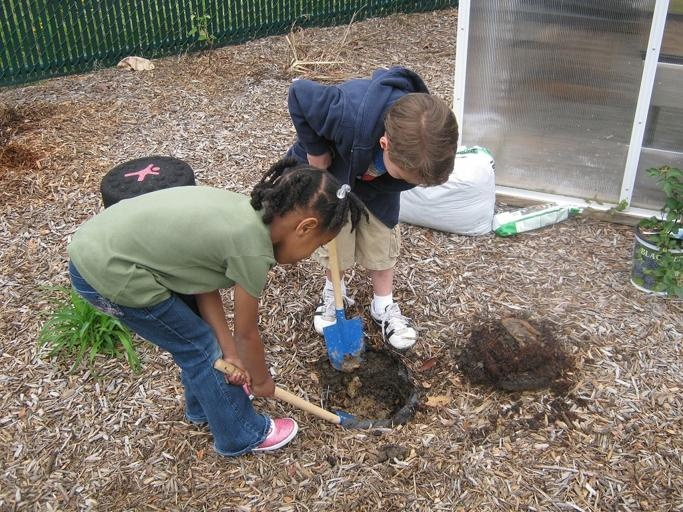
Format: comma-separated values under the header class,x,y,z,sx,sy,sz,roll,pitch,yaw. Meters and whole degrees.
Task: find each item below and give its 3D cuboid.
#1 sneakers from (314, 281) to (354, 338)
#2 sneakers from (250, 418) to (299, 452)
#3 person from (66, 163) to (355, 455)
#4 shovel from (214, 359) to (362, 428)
class,x,y,z,sx,sy,sz,roll,pitch,yaw
sneakers,-0.066,0.333,3.528,0.140,0.176,0.405,1,71,3
sneakers,-0.324,0.900,2.948,0.270,0.114,0.110,-9,37,-11
person,-0.631,0.320,2.772,1.549,1.575,0.739,-1,41,-21
shovel,-0.324,0.767,2.899,0.950,0.130,0.279,33,13,-34
